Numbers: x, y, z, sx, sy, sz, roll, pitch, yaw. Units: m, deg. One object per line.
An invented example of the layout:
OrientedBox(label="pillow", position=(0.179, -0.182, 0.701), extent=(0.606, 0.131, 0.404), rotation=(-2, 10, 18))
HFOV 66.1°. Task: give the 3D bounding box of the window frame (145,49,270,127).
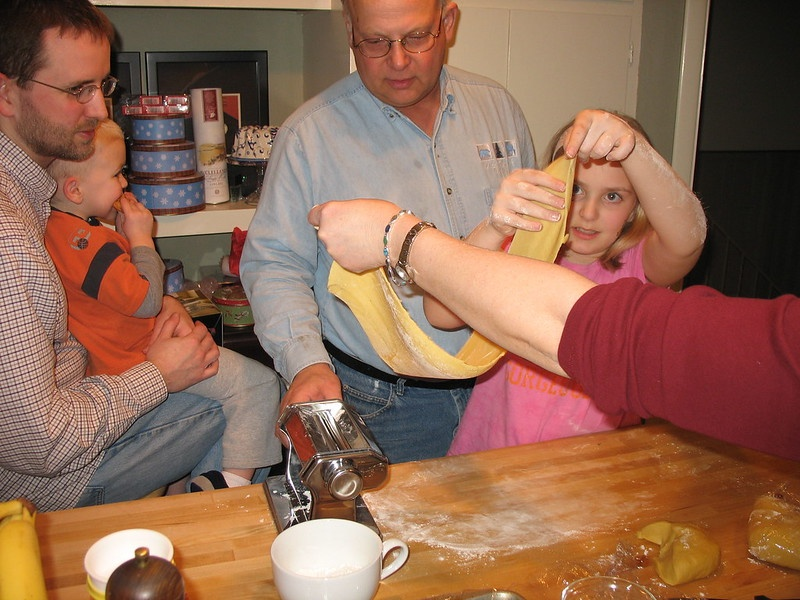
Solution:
OrientedBox(label="window frame", position=(-0.851, -0.879, 2.760), extent=(0.515, 0.453, 0.041), rotation=(-12, 38, -31))

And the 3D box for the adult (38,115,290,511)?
OrientedBox(label="adult", position=(-0.788, 0.130, 2.129), extent=(0.642, 1.300, 0.521), rotation=(-8, 5, -14))

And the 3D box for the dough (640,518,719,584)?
OrientedBox(label="dough", position=(0.501, 0.446, 1.104), extent=(0.114, 0.060, 0.114), rotation=(-4, 17, -6))

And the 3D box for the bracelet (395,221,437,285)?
OrientedBox(label="bracelet", position=(0.026, -0.080, 1.019), extent=(0.042, 0.078, 0.075), rotation=(27, 0, 17))

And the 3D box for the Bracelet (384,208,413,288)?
OrientedBox(label="Bracelet", position=(-0.006, -0.087, 1.095), extent=(0.045, 0.108, 0.106), rotation=(-4, -16, 15))

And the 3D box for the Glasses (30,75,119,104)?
OrientedBox(label="Glasses", position=(-0.920, -0.593, 1.709), extent=(0.133, 0.040, 0.130), rotation=(18, 24, 13))

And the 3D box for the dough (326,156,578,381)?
OrientedBox(label="dough", position=(0.119, -0.024, 1.311), extent=(0.537, 0.511, 0.261), rotation=(-5, 16, -8))

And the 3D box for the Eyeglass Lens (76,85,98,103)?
OrientedBox(label="Eyeglass Lens", position=(-0.855, -0.564, 1.681), extent=(0.047, 0.016, 0.048), rotation=(20, 32, 14))

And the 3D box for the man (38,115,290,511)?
OrientedBox(label="man", position=(-0.744, 0.044, 1.903), extent=(0.651, 1.294, 0.584), rotation=(-20, 49, -28))

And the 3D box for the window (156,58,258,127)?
OrientedBox(label="window", position=(-0.809, -0.865, 2.667), extent=(0.482, 0.444, 0.037), rotation=(-7, -10, -14))

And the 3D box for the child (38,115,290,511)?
OrientedBox(label="child", position=(-0.799, 0.116, 2.155), extent=(0.649, 1.332, 0.535), rotation=(-9, 8, -18))

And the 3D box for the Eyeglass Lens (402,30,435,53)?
OrientedBox(label="Eyeglass Lens", position=(0.046, -0.645, 1.544), extent=(0.110, 0.050, 0.026), rotation=(-11, 18, -27))
